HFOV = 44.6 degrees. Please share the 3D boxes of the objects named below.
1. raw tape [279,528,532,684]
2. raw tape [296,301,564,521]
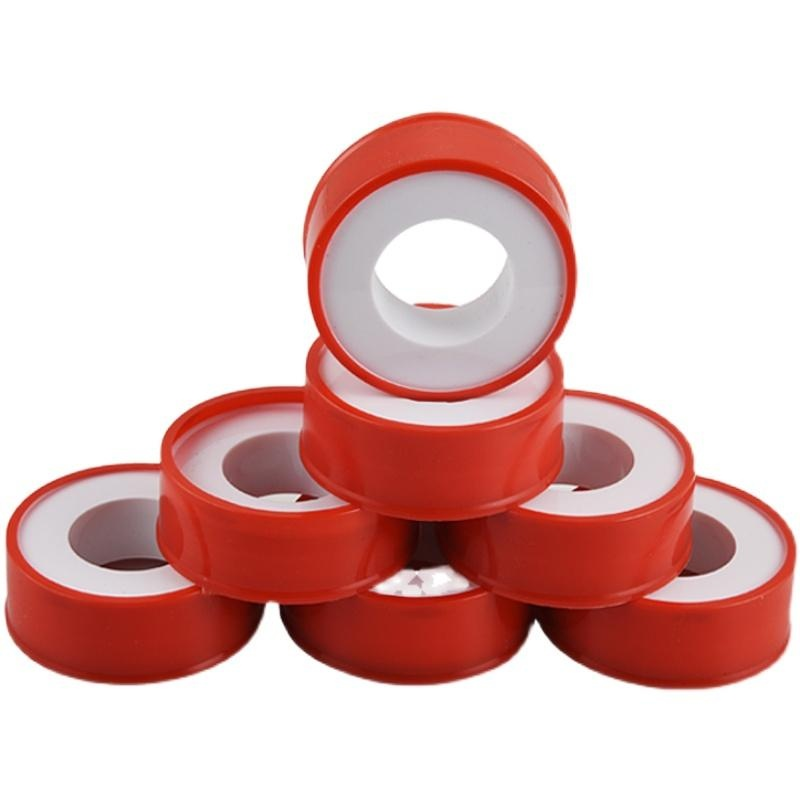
[{"bbox_3d":[0.095,0.709,3.104,0.720,0.136,0.594,-5,-2,-27],"label":"raw tape"},{"bbox_3d":[0.057,-0.016,2.740,0.750,0.206,0.574,-2,30,-4],"label":"raw tape"}]
